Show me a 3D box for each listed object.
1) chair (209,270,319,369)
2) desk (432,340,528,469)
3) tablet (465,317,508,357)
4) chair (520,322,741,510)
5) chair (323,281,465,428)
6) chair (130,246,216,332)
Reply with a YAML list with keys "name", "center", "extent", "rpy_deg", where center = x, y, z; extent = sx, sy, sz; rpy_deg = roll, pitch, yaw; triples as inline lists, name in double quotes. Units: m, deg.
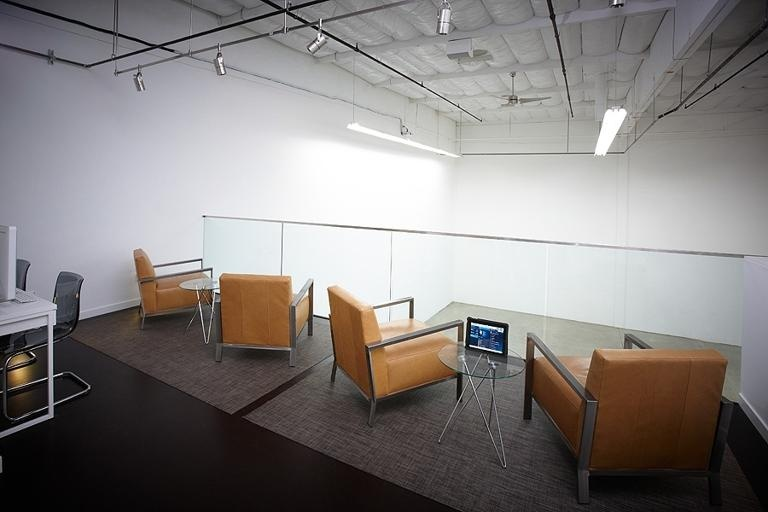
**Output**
- name: "chair"
  center: [-1.568, 0.673, 6.216]
  extent: [1.091, 1.090, 1.308]
  rpy_deg: [2, 9, 1]
- name: "desk"
  center: [0.955, 1.331, 4.889]
  extent: [1.009, 1.166, 1.012]
  rpy_deg: [11, 14, 34]
- name: "tablet"
  center: [1.071, 0.856, 4.750]
  extent: [0.355, 0.276, 0.070]
  rpy_deg: [5, 2, 26]
- name: "chair"
  center: [2.288, 1.417, 4.529]
  extent: [1.170, 1.258, 1.691]
  rpy_deg: [0, 3, 5]
- name: "chair"
  center: [0.123, 0.934, 5.226]
  extent: [1.440, 1.129, 1.349]
  rpy_deg: [-12, 16, -42]
- name: "chair"
  center: [-3.279, 0.397, 7.108]
  extent: [1.086, 0.979, 1.018]
  rpy_deg: [-4, 12, -27]
